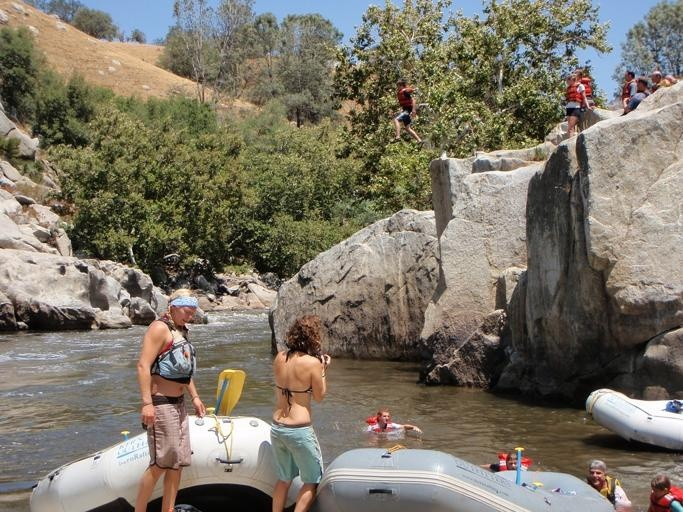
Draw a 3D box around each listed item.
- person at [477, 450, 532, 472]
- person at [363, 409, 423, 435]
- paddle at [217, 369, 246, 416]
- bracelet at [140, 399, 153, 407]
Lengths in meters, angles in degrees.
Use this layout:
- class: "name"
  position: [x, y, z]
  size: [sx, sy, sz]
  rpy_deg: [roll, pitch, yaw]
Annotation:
- class: "person"
  position: [2.596, 3.254, 12.679]
  size: [0.719, 0.266, 0.541]
  rpy_deg: [-18, 3, -41]
- class: "person"
  position: [0.882, 3.243, 15.482]
  size: [0.522, 0.264, 0.705]
  rpy_deg: [2, -7, -34]
- class: "paddle"
  position: [-1.649, 2.078, 11.882]
  size: [0.357, 0.955, 0.225]
  rpy_deg: [14, 15, 8]
- class: "bracelet"
  position: [-2.645, 1.983, 10.806]
  size: [0.157, 0.125, 0.161]
  rpy_deg: [-6, 0, -9]
